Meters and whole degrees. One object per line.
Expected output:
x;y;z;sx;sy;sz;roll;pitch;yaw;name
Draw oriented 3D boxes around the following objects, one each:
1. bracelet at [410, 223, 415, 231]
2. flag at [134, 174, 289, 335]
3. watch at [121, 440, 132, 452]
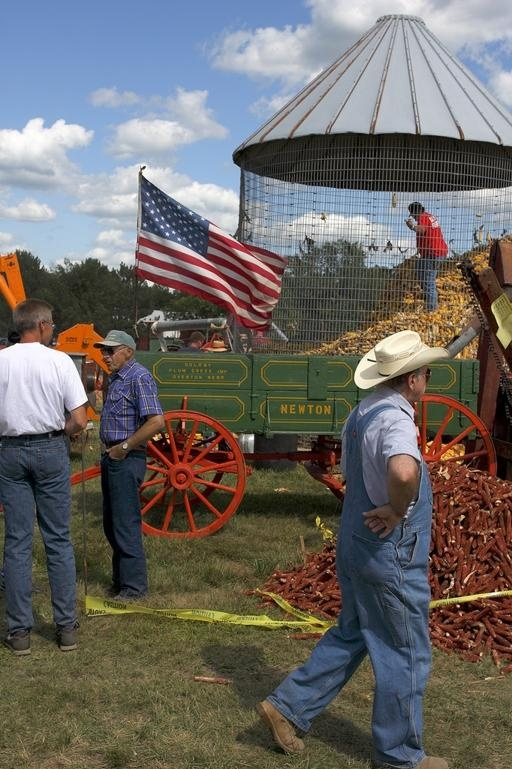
2.357;-2.366;10.983;0.032;0.086;0.099;-6;0;-38;bracelet
-0.565;-1.485;8.286;1.597;1.657;0.543;0;4;-11;flag
-0.917;0.420;5.122;0.052;0.071;0.072;2;-11;-19;watch
